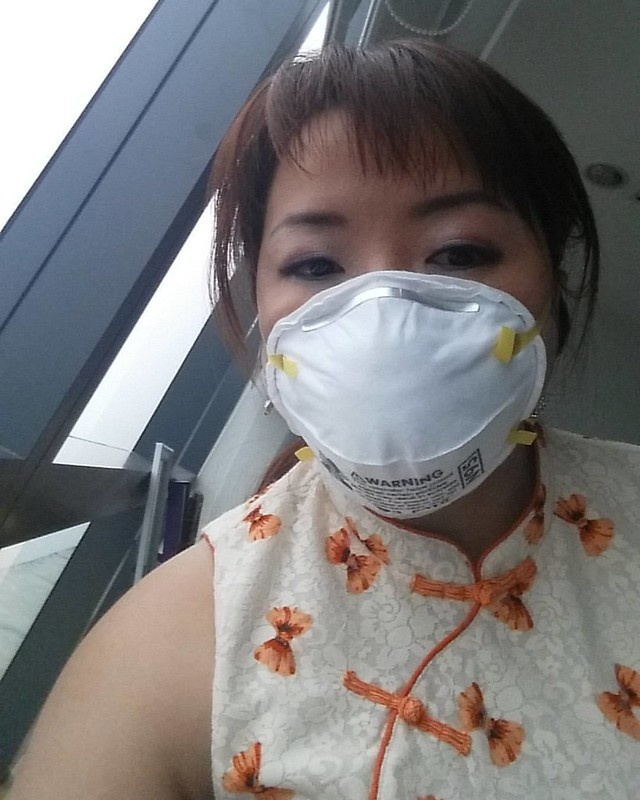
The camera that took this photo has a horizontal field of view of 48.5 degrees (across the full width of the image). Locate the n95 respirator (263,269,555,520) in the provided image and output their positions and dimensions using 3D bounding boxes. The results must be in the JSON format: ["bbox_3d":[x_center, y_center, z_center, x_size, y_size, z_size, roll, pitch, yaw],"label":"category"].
[{"bbox_3d":[0.121,0.000,0.994,0.386,0.264,0.336,-4,3,22],"label":"n95 respirator"}]
